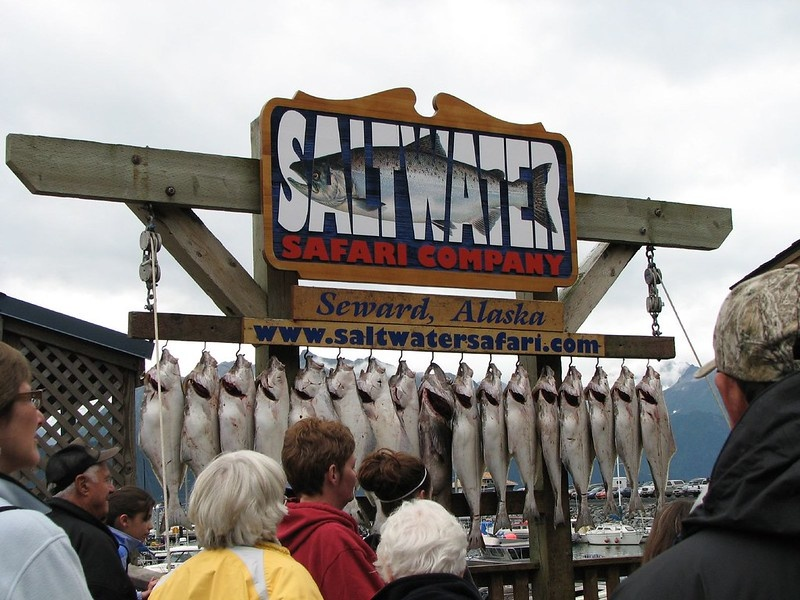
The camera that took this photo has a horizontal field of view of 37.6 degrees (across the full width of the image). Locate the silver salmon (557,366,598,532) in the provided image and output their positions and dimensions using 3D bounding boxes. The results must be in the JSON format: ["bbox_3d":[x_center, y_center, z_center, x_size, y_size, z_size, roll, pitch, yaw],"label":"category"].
[{"bbox_3d":[1.171,1.008,7.998,0.214,1.123,0.511,-3,-16,11],"label":"silver salmon"}]

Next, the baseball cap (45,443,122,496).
[{"bbox_3d":[-1.738,0.884,6.402,0.426,0.210,0.279,-19,-4,-31],"label":"baseball cap"}]
